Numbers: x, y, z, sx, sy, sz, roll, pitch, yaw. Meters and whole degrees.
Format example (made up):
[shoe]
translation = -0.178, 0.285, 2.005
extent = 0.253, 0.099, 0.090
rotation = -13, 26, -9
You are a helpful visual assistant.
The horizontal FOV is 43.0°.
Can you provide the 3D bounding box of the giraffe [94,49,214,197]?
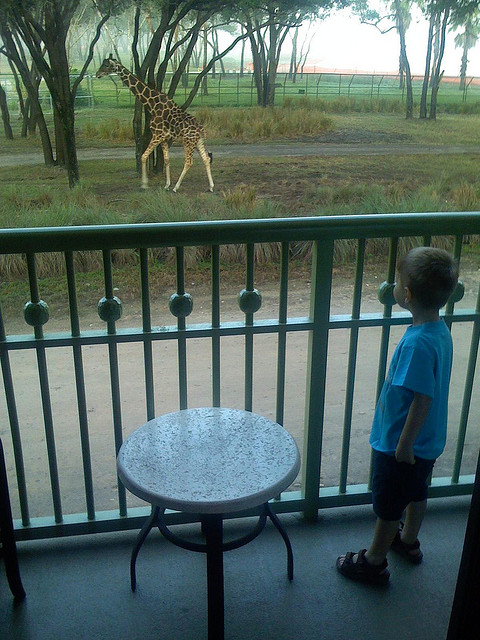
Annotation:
[giraffe]
translation = -1.040, -2.579, 8.443
extent = 1.482, 1.868, 1.180
rotation = -10, 8, -18
